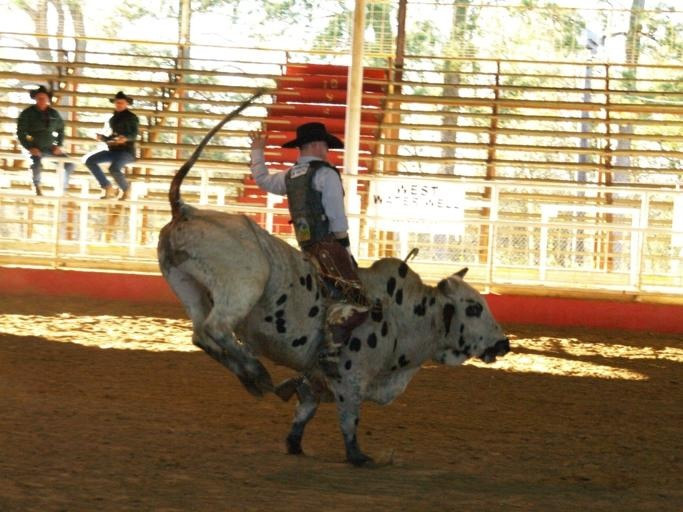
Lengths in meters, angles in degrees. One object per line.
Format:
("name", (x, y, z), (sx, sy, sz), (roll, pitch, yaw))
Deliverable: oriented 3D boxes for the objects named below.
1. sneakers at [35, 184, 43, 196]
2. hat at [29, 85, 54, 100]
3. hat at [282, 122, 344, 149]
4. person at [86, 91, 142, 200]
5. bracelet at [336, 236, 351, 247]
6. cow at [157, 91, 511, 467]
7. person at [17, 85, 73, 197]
("sneakers", (-4.209, -0.917, 14.572), (0.086, 0.122, 0.138), (3, 3, -20))
("hat", (-4.452, -2.449, 15.510), (0.392, 0.120, 0.421), (2, -4, -4))
("hat", (-0.165, -1.042, 8.999), (0.370, 0.108, 0.380), (-4, -1, 25))
("person", (-3.277, -1.598, 14.977), (0.689, 1.579, 1.102), (4, 3, -8))
("bracelet", (0.015, -0.114, 8.791), (0.109, 0.053, 0.092), (-1, 1, -26))
("cow", (-0.147, 0.191, 8.769), (2.630, 3.104, 0.597), (2, 5, -23))
("person", (-4.310, -1.688, 15.038), (0.676, 1.571, 0.982), (3, 4, -16))
